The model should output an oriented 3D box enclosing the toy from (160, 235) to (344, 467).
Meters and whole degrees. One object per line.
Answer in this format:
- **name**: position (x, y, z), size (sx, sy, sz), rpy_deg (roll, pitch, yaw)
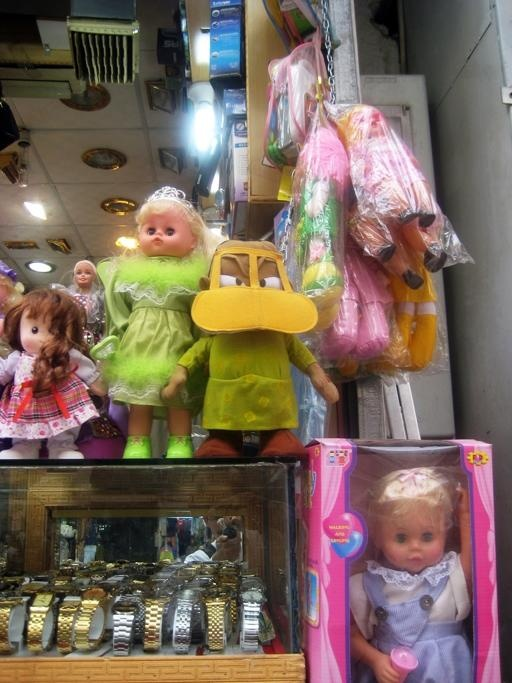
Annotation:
- **toy**: position (-0.023, 0.000, 1.053), size (0.336, 0.461, 0.219), rpy_deg (-3, -14, -7)
